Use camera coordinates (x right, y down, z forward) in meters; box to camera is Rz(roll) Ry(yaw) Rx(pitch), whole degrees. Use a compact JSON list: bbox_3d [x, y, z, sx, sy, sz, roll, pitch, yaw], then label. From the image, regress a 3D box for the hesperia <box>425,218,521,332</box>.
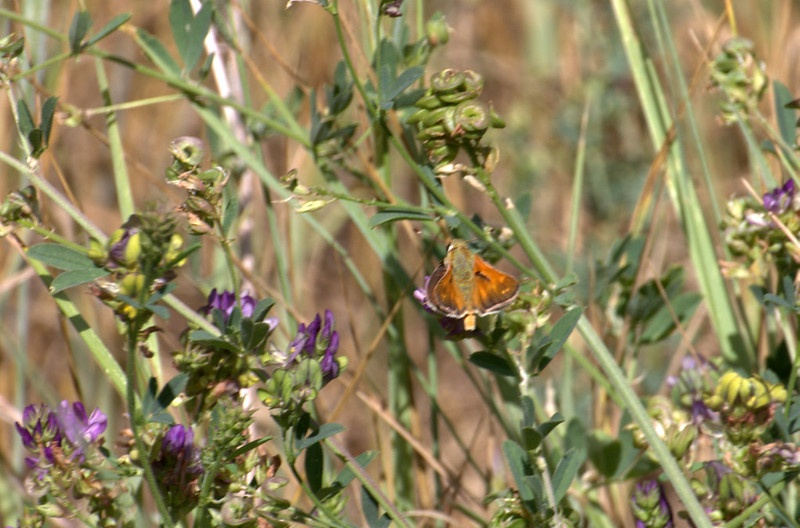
[{"bbox_3d":[0.138,0.057,2.265,0.207,0.080,0.260,-2,40,-5],"label":"hesperia"}]
